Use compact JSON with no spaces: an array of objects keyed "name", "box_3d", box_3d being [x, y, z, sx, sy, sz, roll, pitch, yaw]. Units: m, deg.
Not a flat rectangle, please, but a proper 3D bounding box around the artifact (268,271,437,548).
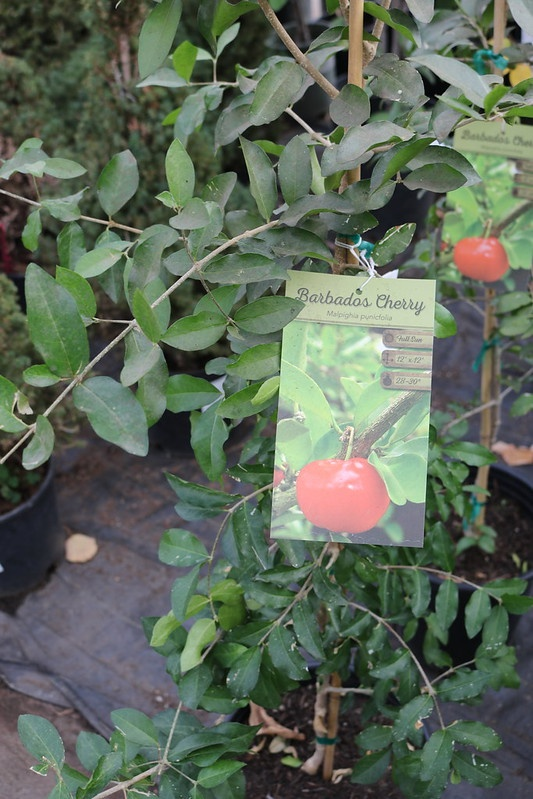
[{"name":"artifact","box_3d":[0.083,0.013,0.701,0.151,0.256,0.140,3,38,17]}]
